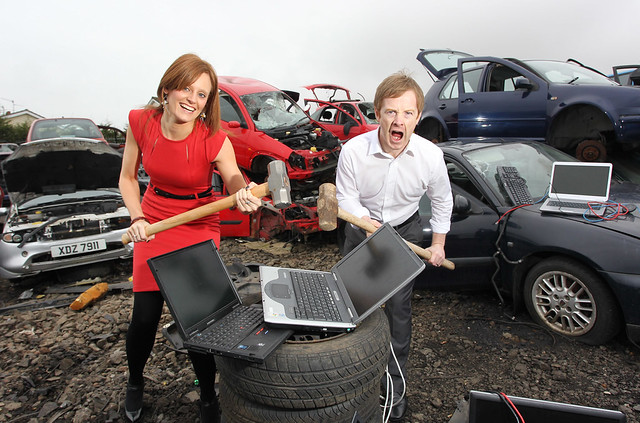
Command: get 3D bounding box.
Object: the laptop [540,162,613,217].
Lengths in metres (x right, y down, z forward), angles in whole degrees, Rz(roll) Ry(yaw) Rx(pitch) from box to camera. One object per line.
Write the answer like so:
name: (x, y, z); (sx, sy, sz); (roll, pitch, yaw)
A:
laptop: (2.931, -0.288, 4.079); (0.584, 0.401, 0.609); (8, 24, 37)

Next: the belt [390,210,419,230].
belt: (0.757, 0.079, 3.250); (0.198, 0.046, 0.186); (-36, -3, 32)

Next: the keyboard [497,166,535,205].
keyboard: (2.380, -0.335, 4.398); (0.330, 0.095, 0.489); (-7, 54, -7)
